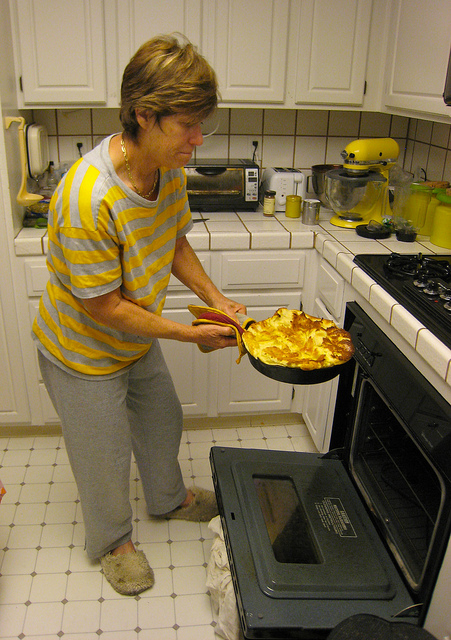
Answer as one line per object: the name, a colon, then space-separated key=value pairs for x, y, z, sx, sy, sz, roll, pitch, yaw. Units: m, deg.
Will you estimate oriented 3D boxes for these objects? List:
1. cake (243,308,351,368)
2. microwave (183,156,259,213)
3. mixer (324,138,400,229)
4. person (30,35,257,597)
cake: x=0.161 y=0.046 z=1.079 sx=0.236 sy=0.049 sz=0.295 roll=5 pitch=27 yaw=13
microwave: x=-0.016 y=-0.554 z=2.158 sx=0.387 sy=0.225 sz=0.283 roll=1 pitch=-6 yaw=18
mixer: x=0.518 y=-0.559 z=1.960 sx=0.275 sy=0.429 sz=0.271 roll=-9 pitch=25 yaw=-31
person: x=-0.217 y=0.111 z=1.265 sx=0.566 sy=1.482 sz=0.471 roll=-9 pitch=26 yaw=-14
